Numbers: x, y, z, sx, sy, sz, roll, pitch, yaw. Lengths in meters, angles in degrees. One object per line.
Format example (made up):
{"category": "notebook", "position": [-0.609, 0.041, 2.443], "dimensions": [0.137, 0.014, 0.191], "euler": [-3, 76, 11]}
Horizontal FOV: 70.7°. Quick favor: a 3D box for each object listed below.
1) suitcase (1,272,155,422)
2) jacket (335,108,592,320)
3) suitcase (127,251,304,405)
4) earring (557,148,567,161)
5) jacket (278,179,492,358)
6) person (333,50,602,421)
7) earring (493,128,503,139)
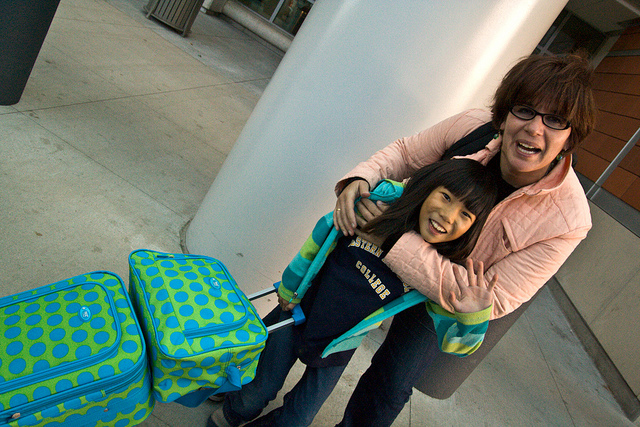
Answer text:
{"category": "suitcase", "position": [-1.347, 0.792, 2.548], "dimensions": [0.814, 0.454, 0.662], "euler": [-14, 71, -23]}
{"category": "jacket", "position": [0.935, -0.082, 2.767], "dimensions": [0.728, 1.159, 1.341], "euler": [-6, 54, -41]}
{"category": "suitcase", "position": [-0.584, 0.714, 2.730], "dimensions": [0.957, 0.381, 0.810], "euler": [-5, 48, -37]}
{"category": "earring", "position": [1.308, -0.313, 2.463], "dimensions": [0.033, 0.044, 0.011], "euler": [46, -6, -39]}
{"category": "jacket", "position": [0.210, 0.202, 3.308], "dimensions": [1.327, 1.462, 0.615], "euler": [-25, 87, -19]}
{"category": "person", "position": [0.916, -0.251, 2.483], "dimensions": [1.244, 1.187, 0.781], "euler": [34, 28, 4]}
{"category": "earring", "position": [1.005, -0.450, 2.571], "dimensions": [0.010, 0.075, 0.015], "euler": [12, 30, -20]}
